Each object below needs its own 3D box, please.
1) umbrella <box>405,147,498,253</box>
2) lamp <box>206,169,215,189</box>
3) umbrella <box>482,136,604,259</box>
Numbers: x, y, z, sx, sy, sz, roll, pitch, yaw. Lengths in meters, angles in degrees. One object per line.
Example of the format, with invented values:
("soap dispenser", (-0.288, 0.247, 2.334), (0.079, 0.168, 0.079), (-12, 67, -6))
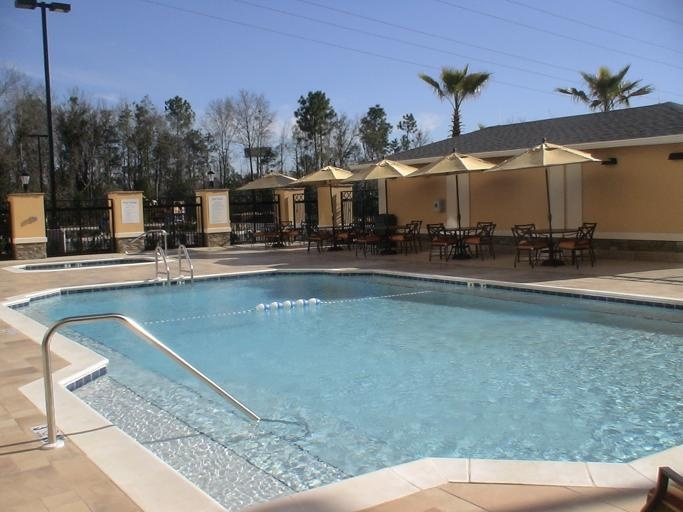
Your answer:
("umbrella", (3.580, -1.699, 15.556), (3.238, 3.194, 3.404), (4, 11, 32))
("lamp", (-6.085, -3.722, 23.248), (0.224, 0.837, 0.977), (-5, 9, -20))
("umbrella", (4.996, -1.237, 13.615), (3.520, 3.497, 3.442), (-1, 1, 36))
